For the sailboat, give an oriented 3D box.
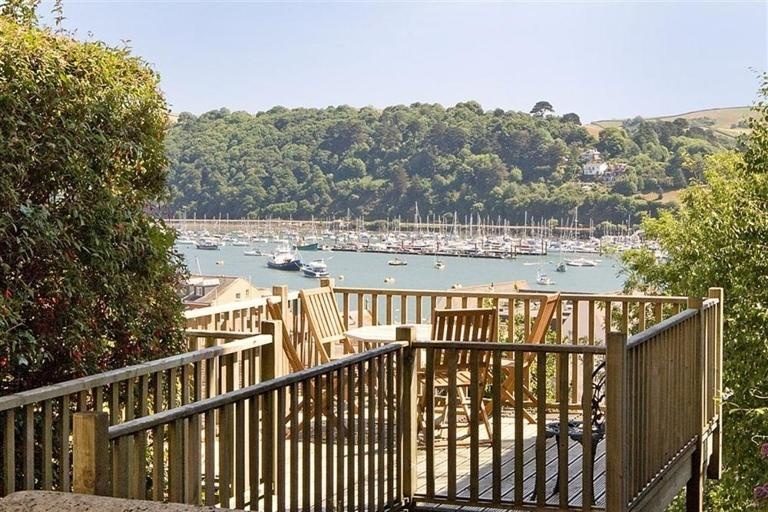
[{"bbox_3d":[3.542,-2.570,108.483,20.137,2.678,16.889,4,11,-33],"label":"sailboat"}]
